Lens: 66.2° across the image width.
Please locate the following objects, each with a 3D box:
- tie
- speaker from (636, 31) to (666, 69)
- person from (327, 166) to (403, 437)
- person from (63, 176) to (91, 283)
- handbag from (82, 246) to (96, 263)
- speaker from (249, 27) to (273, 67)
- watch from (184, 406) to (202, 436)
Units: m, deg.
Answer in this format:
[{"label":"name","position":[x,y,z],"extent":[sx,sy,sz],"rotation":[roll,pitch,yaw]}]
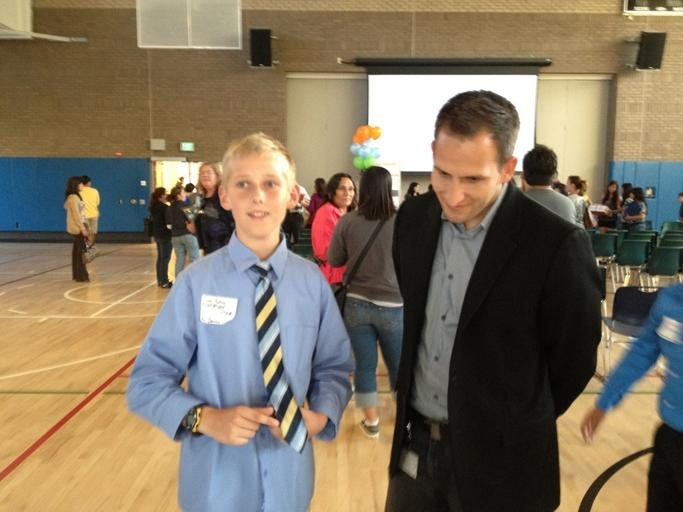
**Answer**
[{"label":"tie","position":[-0.212,0.319,1.675],"extent":[0.119,0.653,0.031],"rotation":[3,-23,-27]},{"label":"speaker","position":[8.193,-5.401,13.819],"extent":[0.653,0.957,0.321],"rotation":[3,9,14]},{"label":"person","position":[0.242,0.309,3.681],"extent":[0.599,1.925,0.561],"rotation":[-4,22,-10]},{"label":"person","position":[-4.499,-0.463,8.895],"extent":[0.303,1.702,0.991],"rotation":[-4,10,-27]},{"label":"handbag","position":[-4.485,-0.026,9.286],"extent":[0.109,0.298,0.309],"rotation":[-8,14,8]},{"label":"speaker","position":[-2.140,-5.407,13.712],"extent":[0.589,0.888,0.235],"rotation":[2,9,8]},{"label":"watch","position":[-0.457,0.498,1.610],"extent":[0.030,0.067,0.077],"rotation":[29,33,-25]}]
